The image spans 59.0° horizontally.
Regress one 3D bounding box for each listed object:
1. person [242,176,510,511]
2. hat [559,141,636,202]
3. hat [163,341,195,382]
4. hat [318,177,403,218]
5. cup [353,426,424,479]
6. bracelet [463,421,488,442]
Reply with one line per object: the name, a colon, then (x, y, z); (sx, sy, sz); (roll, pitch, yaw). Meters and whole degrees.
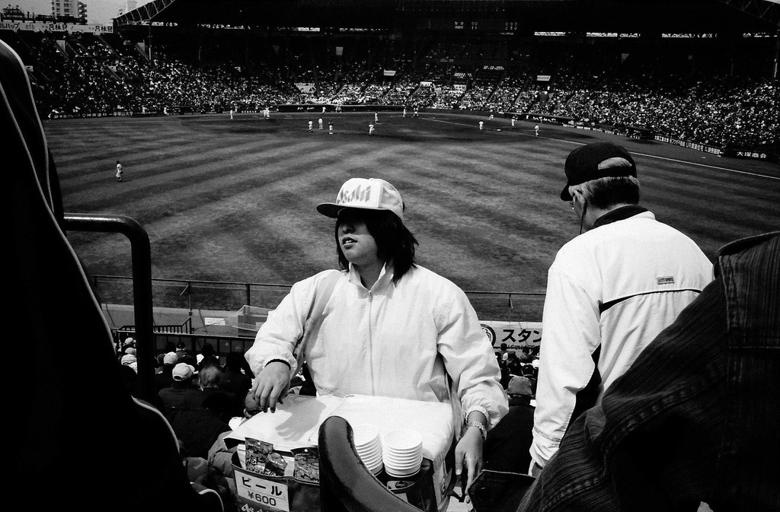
person: (-0.082, 0.510, 3.387); (1.206, 1.574, 0.911); (-1, -2, -4)
hat: (0.991, -0.421, 3.378); (0.249, 0.160, 0.330); (-4, 3, -13)
hat: (-2.549, 1.270, 8.370); (0.427, 0.242, 0.643); (4, 13, -7)
hat: (-0.109, -0.291, 3.351); (0.324, 0.157, 0.232); (-5, 9, -43)
cup: (-0.004, 0.711, 2.566); (0.346, 0.127, 0.245); (3, 5, -11)
bracelet: (0.377, 0.757, 2.983); (0.091, 0.042, 0.115); (-3, -8, 1)
